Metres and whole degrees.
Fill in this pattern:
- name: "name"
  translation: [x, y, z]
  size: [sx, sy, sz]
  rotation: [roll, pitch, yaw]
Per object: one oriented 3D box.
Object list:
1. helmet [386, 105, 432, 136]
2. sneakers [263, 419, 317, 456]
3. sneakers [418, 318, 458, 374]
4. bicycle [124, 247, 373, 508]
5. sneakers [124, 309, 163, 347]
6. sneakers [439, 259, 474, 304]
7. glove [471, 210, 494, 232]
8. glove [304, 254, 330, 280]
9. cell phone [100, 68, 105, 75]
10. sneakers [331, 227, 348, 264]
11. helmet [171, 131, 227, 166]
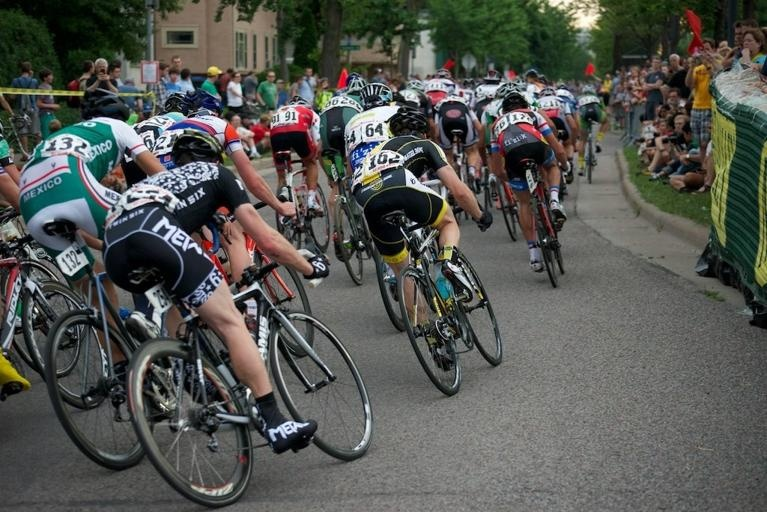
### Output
- name: "helmet"
  translation: [0.270, -1.414, 8.409]
  size: [0.285, 0.258, 0.392]
  rotation: [-4, -8, 36]
- name: "sneakers"
  translation: [-0.665, 1.288, 5.819]
  size: [0.363, 0.203, 0.252]
  rotation: [-18, 51, -21]
- name: "sneakers"
  translation: [0.519, 0.801, 7.217]
  size: [0.260, 0.477, 0.204]
  rotation: [-38, -21, -1]
- name: "bicycle"
  translation: [-0.999, 0.921, 5.861]
  size: [1.776, 1.521, 0.712]
  rotation: [-11, 15, -31]
- name: "sneakers"
  translation: [-1.897, 0.568, 6.382]
  size: [0.237, 0.408, 0.165]
  rotation: [11, 65, 28]
- name: "sneakers"
  translation: [0.702, 0.235, 7.614]
  size: [0.162, 0.436, 0.252]
  rotation: [-37, 8, -6]
- name: "glove"
  translation: [1.108, -0.412, 8.469]
  size: [0.181, 0.263, 0.116]
  rotation: [5, 56, 38]
- name: "glove"
  translation: [-0.507, 0.100, 6.356]
  size: [0.148, 0.206, 0.081]
  rotation: [30, 5, 18]
- name: "cell phone"
  translation: [-6.438, -4.227, 18.246]
  size: [0.091, 0.099, 0.171]
  rotation: [-4, 8, 5]
- name: "sneakers"
  translation: [-0.614, -0.161, 10.718]
  size: [0.163, 0.374, 0.269]
  rotation: [-14, -18, -10]
- name: "helmet"
  translation: [-1.477, -0.861, 6.354]
  size: [0.387, 0.287, 0.340]
  rotation: [-7, 14, -16]
